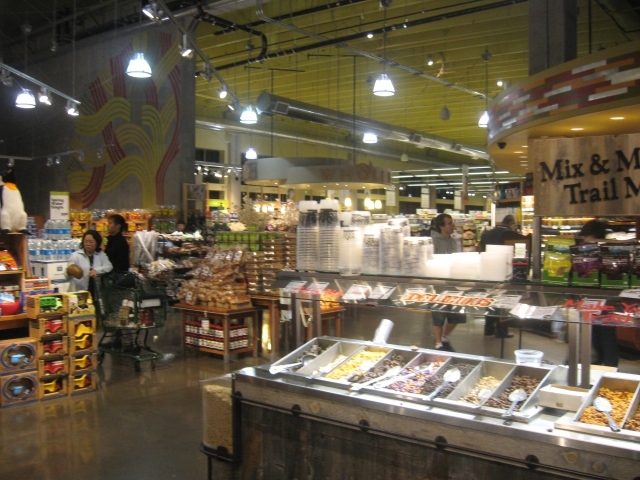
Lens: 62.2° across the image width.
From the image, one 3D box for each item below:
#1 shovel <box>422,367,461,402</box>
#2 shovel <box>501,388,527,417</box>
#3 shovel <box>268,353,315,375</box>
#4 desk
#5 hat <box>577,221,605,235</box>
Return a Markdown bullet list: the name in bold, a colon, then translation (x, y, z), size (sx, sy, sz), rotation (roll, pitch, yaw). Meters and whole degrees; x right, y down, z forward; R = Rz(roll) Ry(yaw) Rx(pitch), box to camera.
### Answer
- **shovel**: translation (0.808, 0.923, 3.411), size (0.096, 0.038, 0.470), rotation (14, 12, 24)
- **shovel**: translation (1.145, 0.961, 3.121), size (0.078, 0.038, 0.286), rotation (-5, 11, 32)
- **shovel**: translation (-0.208, 0.898, 3.785), size (0.098, 0.042, 0.258), rotation (21, 13, 34)
- **desk**: translation (-0.738, 1.139, 6.950), size (1.886, 0.669, 1.855), rotation (2, 3, 32)
- **hat**: translation (2.316, -0.096, 4.530), size (0.059, 0.137, 0.177), rotation (34, -13, -36)
